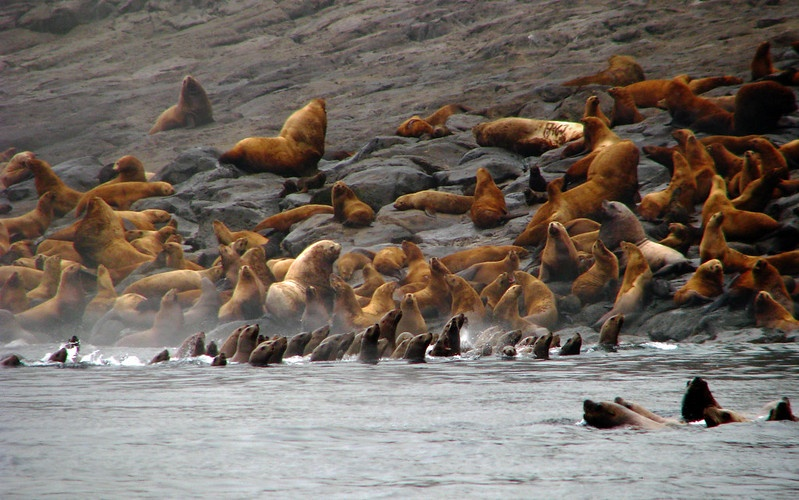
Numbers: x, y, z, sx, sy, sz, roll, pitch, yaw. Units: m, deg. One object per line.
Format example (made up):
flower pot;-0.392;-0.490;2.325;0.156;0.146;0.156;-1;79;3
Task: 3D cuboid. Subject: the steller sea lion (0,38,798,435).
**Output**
steller sea lion;0.759;-0.284;60.902;25.689;4.781;21.047;-2;29;10
